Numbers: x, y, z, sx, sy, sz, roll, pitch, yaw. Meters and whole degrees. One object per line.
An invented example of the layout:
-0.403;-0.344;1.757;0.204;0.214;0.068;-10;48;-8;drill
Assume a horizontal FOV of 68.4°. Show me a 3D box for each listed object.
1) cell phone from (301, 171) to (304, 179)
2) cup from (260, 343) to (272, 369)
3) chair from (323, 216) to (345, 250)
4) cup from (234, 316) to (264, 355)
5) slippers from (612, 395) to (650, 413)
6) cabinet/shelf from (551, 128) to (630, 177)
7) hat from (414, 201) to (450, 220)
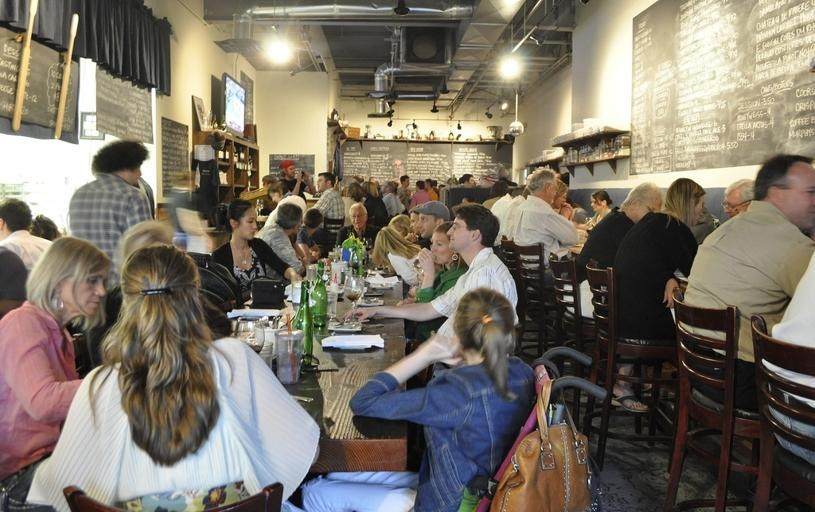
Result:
-1.655;-1.271;9.533;0.046;0.131;0.100;2;5;-10;cell phone
-0.661;0.466;2.773;0.090;0.092;0.090;2;0;0;cup
-0.992;-0.384;8.050;0.236;0.324;0.229;14;-4;-31;chair
-0.786;0.389;3.009;0.167;0.162;0.166;0;2;0;cup
1.562;1.045;4.240;0.110;0.067;0.249;0;-3;-28;slippers
2.483;-1.415;8.458;0.318;0.483;1.858;-2;5;-10;cabinet/shelf
0.227;-0.376;5.305;0.256;0.136;0.178;11;2;-11;hat
